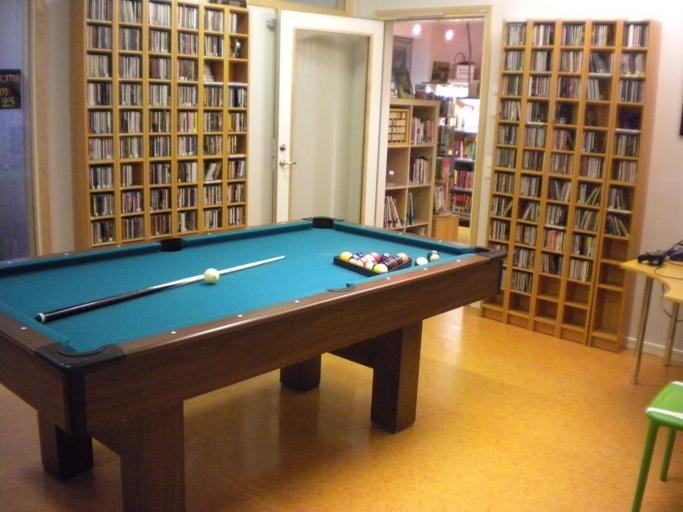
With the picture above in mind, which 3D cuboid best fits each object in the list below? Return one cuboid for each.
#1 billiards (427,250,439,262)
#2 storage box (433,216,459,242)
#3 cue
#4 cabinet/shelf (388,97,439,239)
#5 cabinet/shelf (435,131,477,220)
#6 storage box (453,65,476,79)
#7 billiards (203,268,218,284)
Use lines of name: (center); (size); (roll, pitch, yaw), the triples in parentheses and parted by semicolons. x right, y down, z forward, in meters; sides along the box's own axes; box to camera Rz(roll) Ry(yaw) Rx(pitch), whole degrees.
billiards: (0.552, 0.004, 3.335); (0.062, 0.073, 0.063); (-20, -16, 33)
storage box: (1.381, -0.377, 7.277); (0.397, 0.387, 0.221); (-16, 25, -42)
cue: (-0.765, 0.136, 2.856); (0.117, 0.126, 1.619); (5, 11, 30)
cabinet/shelf: (0.899, -1.160, 6.879); (0.613, 1.923, 0.376); (15, 20, 33)
cabinet/shelf: (1.691, -1.301, 8.309); (0.420, 1.529, 0.646); (-6, 16, -31)
storage box: (1.995, -2.955, 8.780); (0.313, 0.239, 0.631); (3, 16, 11)
billiards: (-0.669, 0.101, 2.809); (0.073, 0.074, 0.073); (10, 34, 8)
